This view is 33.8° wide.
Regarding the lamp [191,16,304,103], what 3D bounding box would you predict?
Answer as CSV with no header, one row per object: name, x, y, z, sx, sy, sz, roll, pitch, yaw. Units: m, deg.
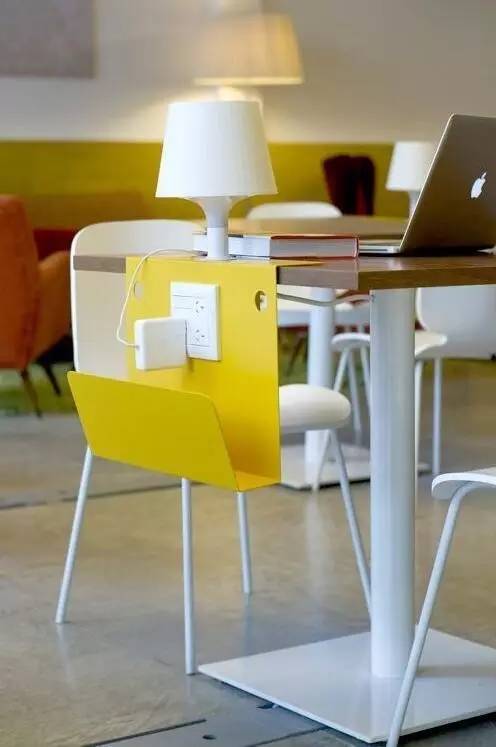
lamp,-0.011,-1.264,3.375,0.355,0.335,0.484,11,19,39

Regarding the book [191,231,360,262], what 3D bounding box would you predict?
book,0.044,-0.191,1.236,0.220,0.059,0.094,-2,2,29
